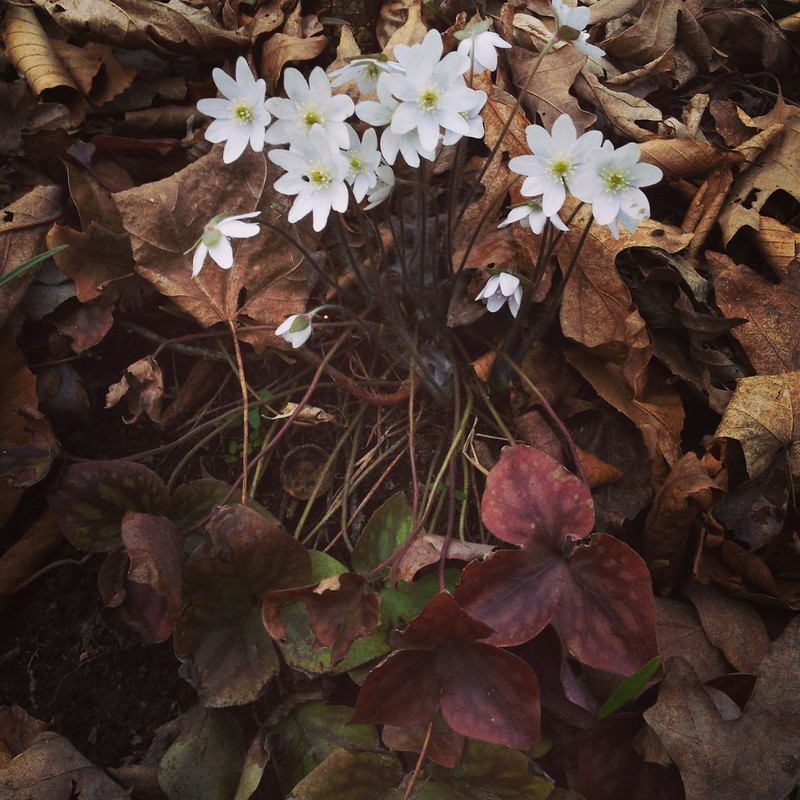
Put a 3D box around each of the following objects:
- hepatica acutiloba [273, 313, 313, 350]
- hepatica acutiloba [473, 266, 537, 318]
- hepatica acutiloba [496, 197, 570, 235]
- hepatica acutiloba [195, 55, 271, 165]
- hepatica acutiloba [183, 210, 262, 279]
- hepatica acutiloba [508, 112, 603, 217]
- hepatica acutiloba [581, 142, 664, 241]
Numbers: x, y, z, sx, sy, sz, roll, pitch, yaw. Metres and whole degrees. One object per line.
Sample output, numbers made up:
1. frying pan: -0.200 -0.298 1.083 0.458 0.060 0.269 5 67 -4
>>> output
1. hepatica acutiloba: -0.191 -0.130 1.649 0.073 0.040 0.082 56 16 22
2. hepatica acutiloba: 0.200 -0.213 1.688 0.098 0.085 0.081 0 30 6
3. hepatica acutiloba: 0.249 -0.328 1.593 0.093 0.038 0.091 6 10 31
4. hepatica acutiloba: -0.287 -0.513 1.552 0.102 0.168 0.134 -18 49 -32
5. hepatica acutiloba: -0.308 -0.302 1.559 0.103 0.119 0.164 5 39 -9
6. hepatica acutiloba: 0.269 -0.409 1.490 0.194 0.164 0.055 2 21 20
7. hepatica acutiloba: 0.369 -0.359 1.443 0.115 0.125 0.069 18 41 6
